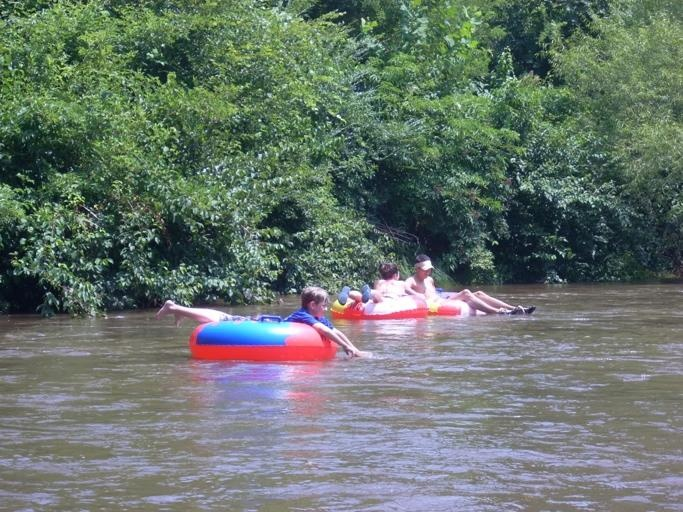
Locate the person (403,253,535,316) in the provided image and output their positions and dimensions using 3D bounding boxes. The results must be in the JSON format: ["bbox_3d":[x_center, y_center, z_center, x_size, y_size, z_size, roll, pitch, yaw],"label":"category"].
[{"bbox_3d":[3.027,0.696,34.272,2.566,1.086,1.387,6,4,19],"label":"person"}]

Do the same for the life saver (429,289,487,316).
[{"bbox_3d":[2.754,1.099,34.126,0.726,0.229,0.704,17,0,-27],"label":"life saver"}]
